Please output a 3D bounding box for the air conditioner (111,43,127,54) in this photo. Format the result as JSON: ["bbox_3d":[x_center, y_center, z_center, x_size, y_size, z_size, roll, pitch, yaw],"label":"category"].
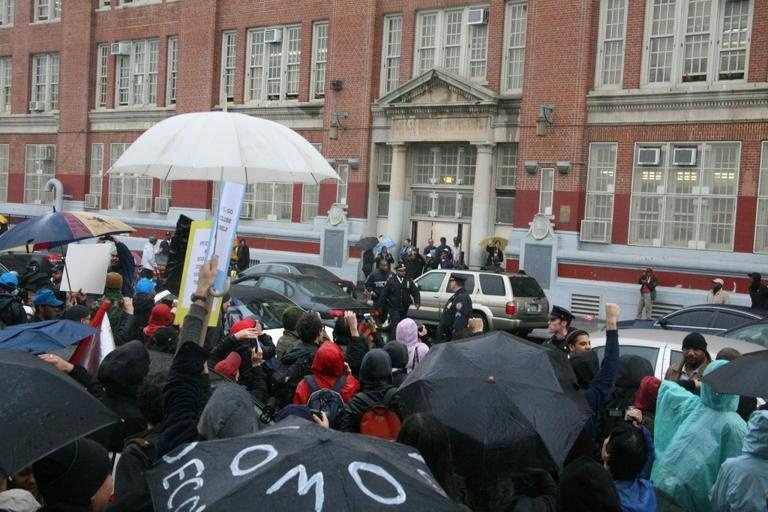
[{"bbox_3d":[-11.691,-9.181,40.177,0.604,0.605,0.461,1,-9,4],"label":"air conditioner"}]

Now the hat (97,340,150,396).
[{"bbox_3d":[-3.461,1.552,12.162,0.570,0.757,0.582,36,-28,-15],"label":"hat"}]

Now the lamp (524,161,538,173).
[{"bbox_3d":[4.758,-2.870,29.252,0.369,0.364,0.370,-1,7,22],"label":"lamp"}]

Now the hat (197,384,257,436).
[{"bbox_3d":[-1.852,1.865,10.738,0.688,0.664,0.532,3,2,-12],"label":"hat"}]

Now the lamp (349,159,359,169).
[{"bbox_3d":[-1.103,-3.377,33.232,0.382,0.361,0.337,2,16,17],"label":"lamp"}]

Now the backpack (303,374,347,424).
[{"bbox_3d":[-0.761,1.907,12.262,0.440,0.632,0.635,0,-13,-1],"label":"backpack"}]

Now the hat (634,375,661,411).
[{"bbox_3d":[3.783,1.974,12.985,0.229,0.423,0.315,16,2,-43],"label":"hat"}]

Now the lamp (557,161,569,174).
[{"bbox_3d":[5.686,-2.800,28.637,0.340,0.344,0.365,0,16,21],"label":"lamp"}]

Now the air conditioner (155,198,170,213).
[{"bbox_3d":[-9.439,-2.185,38.783,0.613,0.613,0.205,0,2,30],"label":"air conditioner"}]

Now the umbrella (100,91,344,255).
[{"bbox_3d":[-2.151,-1.350,12.379,2.628,1.218,1.389,3,2,14],"label":"umbrella"}]

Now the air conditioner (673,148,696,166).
[{"bbox_3d":[9.069,-2.969,27.191,0.489,0.489,0.178,-1,-5,38],"label":"air conditioner"}]

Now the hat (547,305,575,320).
[{"bbox_3d":[2.998,0.956,15.173,0.301,0.140,0.256,5,0,-5],"label":"hat"}]

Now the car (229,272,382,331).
[{"bbox_3d":[-1.997,1.293,22.124,3.220,1.125,1.417,14,10,36],"label":"car"}]

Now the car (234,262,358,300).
[{"bbox_3d":[-2.242,0.901,24.809,2.920,1.036,1.275,6,7,37],"label":"car"}]

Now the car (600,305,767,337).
[{"bbox_3d":[6.815,1.342,19.498,2.599,0.938,1.310,1,-2,17],"label":"car"}]

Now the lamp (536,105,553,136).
[{"bbox_3d":[5.141,-4.342,28.933,0.550,0.770,0.462,3,2,-5],"label":"lamp"}]

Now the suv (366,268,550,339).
[{"bbox_3d":[2.672,1.104,24.796,3.244,1.296,1.862,7,5,29],"label":"suv"}]

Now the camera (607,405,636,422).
[{"bbox_3d":[3.356,2.218,12.853,0.322,0.125,0.255,-4,1,-9],"label":"camera"}]

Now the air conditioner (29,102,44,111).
[{"bbox_3d":[-16.458,-7.071,42.903,0.754,0.512,0.392,4,2,35],"label":"air conditioner"}]

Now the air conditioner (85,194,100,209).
[{"bbox_3d":[-13.191,-2.470,41.076,0.630,0.615,0.228,0,-3,1],"label":"air conditioner"}]

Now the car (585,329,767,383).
[{"bbox_3d":[5.084,1.549,15.954,2.652,0.938,1.270,4,9,22],"label":"car"}]

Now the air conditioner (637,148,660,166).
[{"bbox_3d":[8.155,-3.043,27.766,0.512,0.513,0.192,4,4,38],"label":"air conditioner"}]

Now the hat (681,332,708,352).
[{"bbox_3d":[4.695,1.298,13.626,0.273,0.239,0.292,6,-6,25],"label":"hat"}]

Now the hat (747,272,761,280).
[{"bbox_3d":[9.818,0.565,24.007,0.197,0.134,0.263,-23,35,-38],"label":"hat"}]

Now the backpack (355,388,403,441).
[{"bbox_3d":[-0.035,2.139,12.029,0.451,0.633,0.469,4,0,9],"label":"backpack"}]

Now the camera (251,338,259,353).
[{"bbox_3d":[-1.821,1.257,12.771,0.042,0.151,0.147,-14,-12,28],"label":"camera"}]

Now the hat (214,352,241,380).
[{"bbox_3d":[-2.106,1.497,12.452,0.262,0.428,0.231,15,-37,15],"label":"hat"}]
